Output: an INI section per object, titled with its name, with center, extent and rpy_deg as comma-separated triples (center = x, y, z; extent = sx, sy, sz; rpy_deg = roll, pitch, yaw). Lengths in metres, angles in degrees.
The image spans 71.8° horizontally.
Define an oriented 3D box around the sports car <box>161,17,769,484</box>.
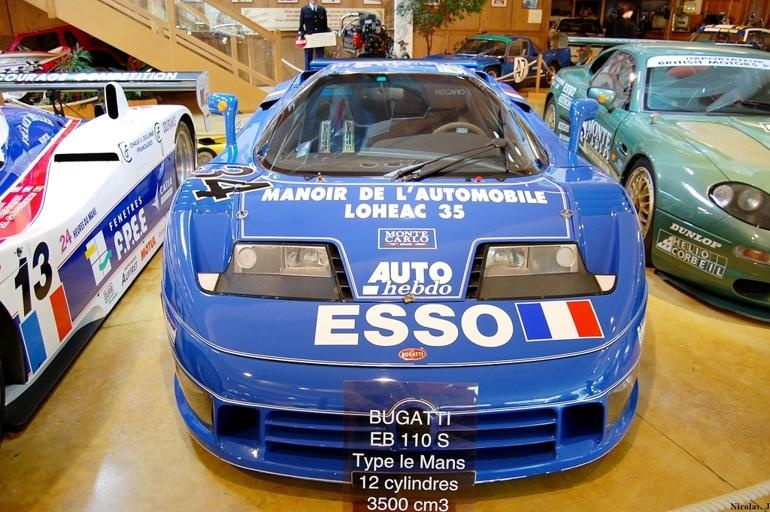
[sports car]
center = 0.101, -0.030, 2.746
extent = 2.268, 1.365, 1.787
rpy_deg = 1, 24, 3
